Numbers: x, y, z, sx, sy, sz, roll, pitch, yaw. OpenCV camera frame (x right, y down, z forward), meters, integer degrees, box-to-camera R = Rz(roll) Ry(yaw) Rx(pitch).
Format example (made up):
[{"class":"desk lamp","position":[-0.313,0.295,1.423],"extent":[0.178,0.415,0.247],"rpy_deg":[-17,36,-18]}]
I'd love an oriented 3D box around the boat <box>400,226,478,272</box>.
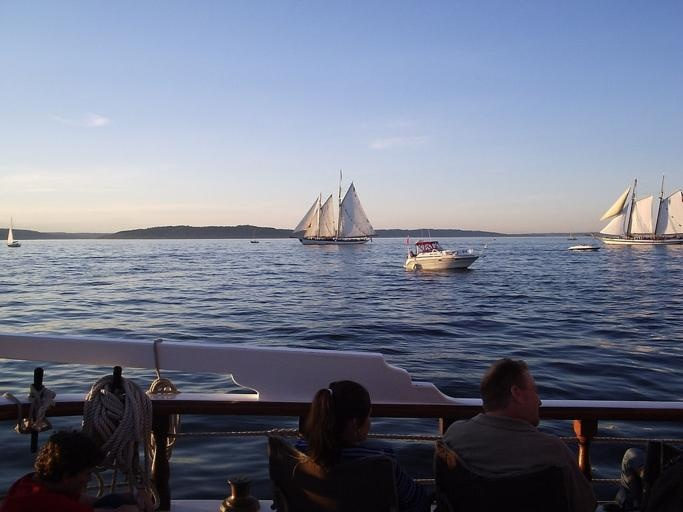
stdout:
[{"class":"boat","position":[7.453,0.072,49.917],"extent":[7.103,2.819,2.605],"rpy_deg":[1,-1,18]}]

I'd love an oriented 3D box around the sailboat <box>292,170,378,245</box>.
[{"class":"sailboat","position":[-1.086,-6.172,104.696],"extent":[13.109,9.523,6.315],"rpy_deg":[3,6,42]}]
